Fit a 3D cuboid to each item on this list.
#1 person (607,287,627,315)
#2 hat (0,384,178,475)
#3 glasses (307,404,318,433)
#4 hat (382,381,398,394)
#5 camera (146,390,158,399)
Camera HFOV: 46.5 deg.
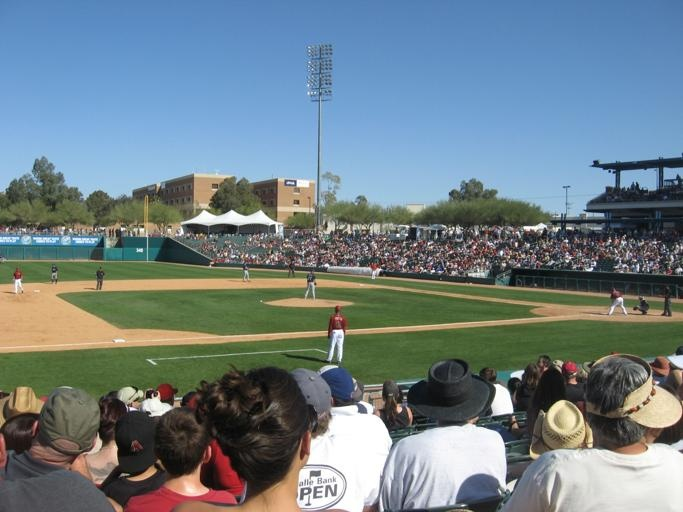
[{"bbox_3d":[11.251,1.797,32.193,0.649,1.141,0.624,-6,13,-18],"label":"person"},{"bbox_3d":[-2.500,1.716,7.817,0.650,0.354,0.916,3,35,-43],"label":"hat"},{"bbox_3d":[-0.235,1.357,6.573,0.075,0.250,0.238,7,-2,-6],"label":"glasses"},{"bbox_3d":[0.699,1.839,11.144,0.160,0.202,0.200,-1,-45,1],"label":"hat"},{"bbox_3d":[-2.368,1.707,9.926,0.137,0.105,0.184,8,-13,-20],"label":"camera"}]
